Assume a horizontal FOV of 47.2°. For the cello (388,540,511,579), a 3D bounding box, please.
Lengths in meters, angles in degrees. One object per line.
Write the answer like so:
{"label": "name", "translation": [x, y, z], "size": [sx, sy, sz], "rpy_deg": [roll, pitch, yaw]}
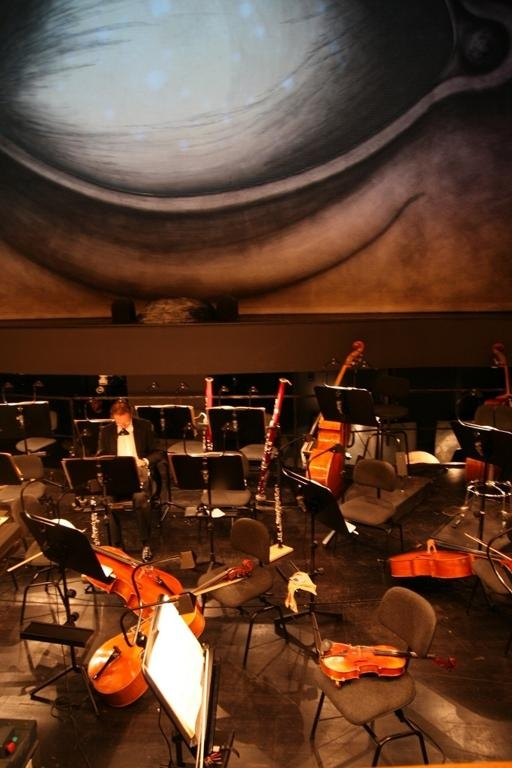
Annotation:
{"label": "cello", "translation": [1.377, 1.290, 4.236], "size": [0.854, 0.336, 0.322], "rpy_deg": [1, -3, 22]}

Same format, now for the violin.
{"label": "violin", "translation": [0.628, 1.384, 2.945], "size": [0.559, 0.102, 0.304], "rpy_deg": [-1, 3, -6]}
